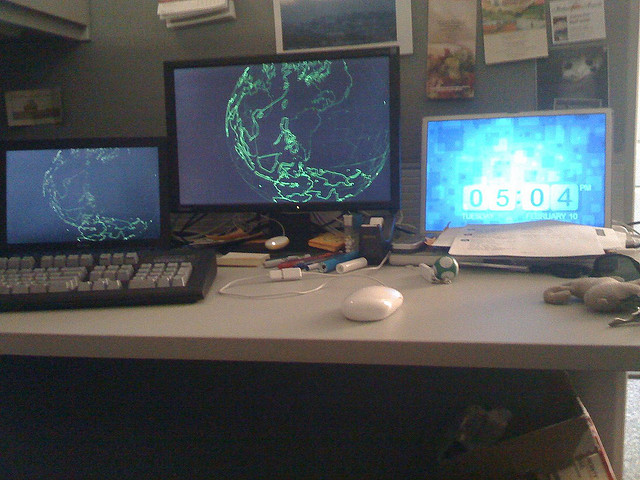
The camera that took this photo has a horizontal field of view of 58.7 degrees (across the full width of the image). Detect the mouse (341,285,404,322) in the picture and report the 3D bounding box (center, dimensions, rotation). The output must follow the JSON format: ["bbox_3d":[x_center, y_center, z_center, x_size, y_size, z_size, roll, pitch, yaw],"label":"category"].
[{"bbox_3d":[0.122,0.129,1.306,0.138,0.060,0.188,-1,7,23],"label":"mouse"}]

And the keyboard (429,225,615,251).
[{"bbox_3d":[0.537,-0.009,1.547,0.464,0.044,0.221,1,13,20],"label":"keyboard"}]

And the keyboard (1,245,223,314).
[{"bbox_3d":[-0.541,0.083,1.412,0.564,0.121,0.253,-4,13,-1],"label":"keyboard"}]

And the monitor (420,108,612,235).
[{"bbox_3d":[0.566,-0.193,1.601,0.400,0.250,0.038,0,0,11],"label":"monitor"}]

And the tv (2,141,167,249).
[{"bbox_3d":[-0.643,-0.116,1.522,0.315,0.208,0.011,0,-4,0],"label":"tv"}]

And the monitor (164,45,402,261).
[{"bbox_3d":[-0.091,-0.243,1.673,0.715,0.566,0.218,2,9,19],"label":"monitor"}]
